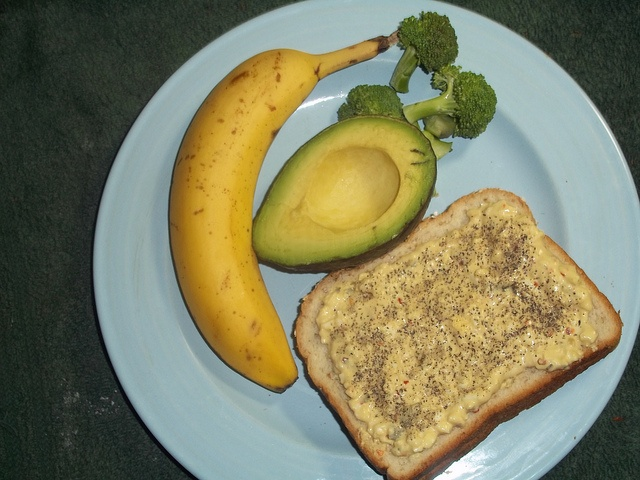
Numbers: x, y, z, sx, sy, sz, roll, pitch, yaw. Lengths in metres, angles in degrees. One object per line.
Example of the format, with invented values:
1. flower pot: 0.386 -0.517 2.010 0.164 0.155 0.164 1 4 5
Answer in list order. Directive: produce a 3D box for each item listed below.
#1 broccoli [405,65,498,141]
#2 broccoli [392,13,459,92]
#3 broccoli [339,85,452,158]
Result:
1. broccoli: 0.529 -0.573 2.676 0.335 0.299 0.277 13 33 29
2. broccoli: 0.405 -0.776 2.752 0.308 0.162 0.242 -27 83 2
3. broccoli: 0.338 -0.493 2.818 0.386 0.196 0.306 -1 74 1
